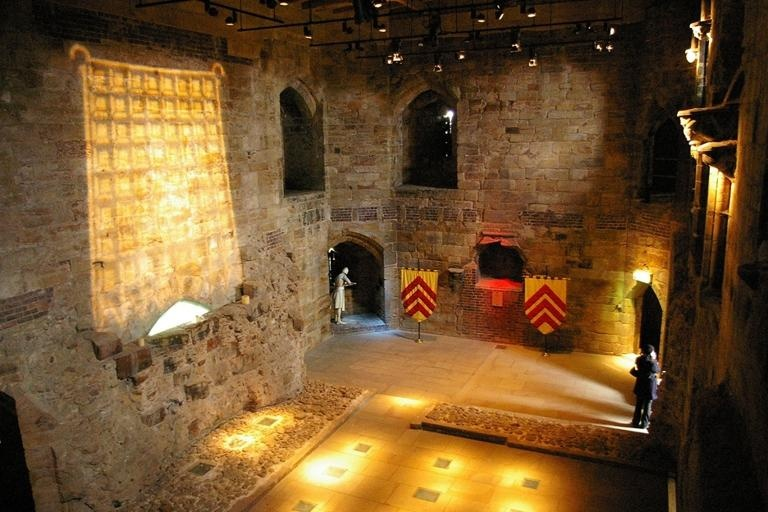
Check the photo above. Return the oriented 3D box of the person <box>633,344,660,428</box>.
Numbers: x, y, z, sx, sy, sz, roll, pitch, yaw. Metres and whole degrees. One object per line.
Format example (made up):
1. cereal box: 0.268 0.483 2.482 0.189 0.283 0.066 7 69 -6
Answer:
1. person: 4.841 2.478 9.257 0.464 1.648 0.607 8 18 26

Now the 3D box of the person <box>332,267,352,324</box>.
1. person: -1.237 1.144 14.348 0.512 1.628 0.733 -2 16 -5

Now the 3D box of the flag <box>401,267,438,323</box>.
1. flag: 0.888 1.041 13.420 0.993 1.369 0.376 10 19 31
